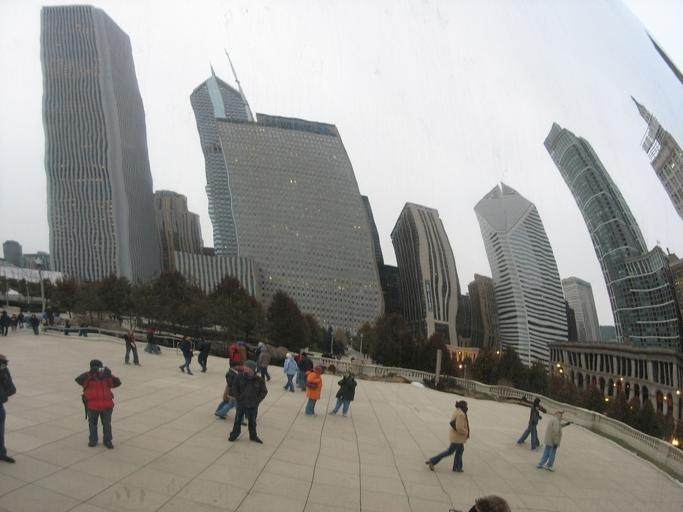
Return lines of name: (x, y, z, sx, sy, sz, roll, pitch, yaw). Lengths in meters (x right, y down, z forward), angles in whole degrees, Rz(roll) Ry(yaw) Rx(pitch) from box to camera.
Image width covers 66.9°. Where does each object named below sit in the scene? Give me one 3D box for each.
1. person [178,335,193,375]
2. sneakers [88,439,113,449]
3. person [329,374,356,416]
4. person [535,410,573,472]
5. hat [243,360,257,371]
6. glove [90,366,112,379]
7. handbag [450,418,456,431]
person: (-6.768, 4.220, 22.482, 0.536, 1.651, 2.711, 5, -2, -16)
sneakers: (-5.526, 4.304, 11.814, 0.390, 0.124, 0.244, 12, -13, -32)
person: (0.088, 4.767, 18.162, 0.738, 1.364, 2.392, 5, -3, 2)
person: (5.998, 5.094, 14.553, 0.674, 1.189, 1.385, 4, -3, 29)
hat: (-2.488, 2.966, 14.091, 0.254, 0.220, 0.209, 21, -2, 18)
glove: (-5.746, 2.751, 12.247, 0.324, 0.211, 0.446, 7, -1, -27)
handbag: (2.817, 4.248, 13.008, 0.211, 0.329, 0.160, -3, -15, 30)
